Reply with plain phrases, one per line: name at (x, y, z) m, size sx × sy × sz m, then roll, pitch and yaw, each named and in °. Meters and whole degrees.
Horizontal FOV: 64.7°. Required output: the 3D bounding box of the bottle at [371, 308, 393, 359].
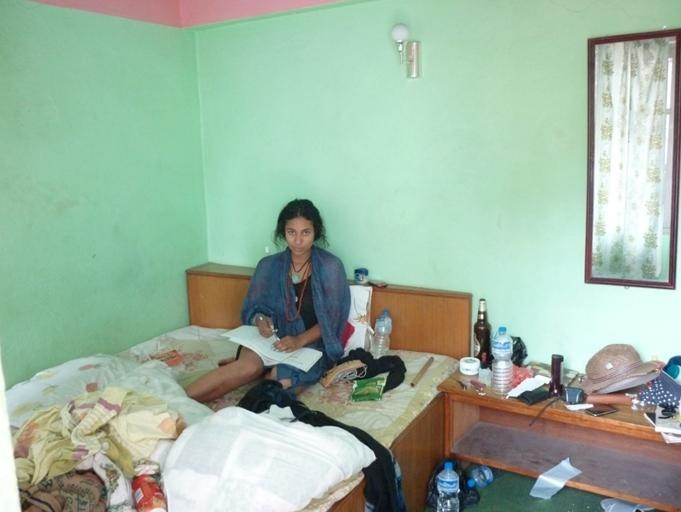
bottle at (0.254, 0.458, 3.265) m, size 0.152 × 0.268 × 0.155 m, roll 9°, pitch -4°, yaw 1°

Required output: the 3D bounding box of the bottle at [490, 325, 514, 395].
bottle at (0.815, 0.536, 2.739) m, size 0.133 × 0.353 × 0.135 m, roll -2°, pitch 6°, yaw 0°

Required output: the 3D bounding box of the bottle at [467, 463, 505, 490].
bottle at (0.753, 1.129, 2.787) m, size 0.064 × 0.104 × 0.164 m, roll -19°, pitch 19°, yaw -37°

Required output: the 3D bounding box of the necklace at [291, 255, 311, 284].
necklace at (-0.240, 0.079, 3.139) m, size 0.102 × 0.152 × 0.027 m, roll 2°, pitch -12°, yaw 27°

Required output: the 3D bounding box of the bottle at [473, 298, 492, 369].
bottle at (0.787, 0.418, 2.983) m, size 0.097 × 0.375 × 0.176 m, roll 0°, pitch 4°, yaw 14°

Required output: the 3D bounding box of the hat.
hat at (1.381, 0.539, 2.656) m, size 0.379 × 0.177 × 0.415 m, roll -16°, pitch -17°, yaw 3°

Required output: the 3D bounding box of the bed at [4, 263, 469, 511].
bed at (0.037, 0.627, 2.847) m, size 1.355 × 0.784 × 1.318 m, roll 5°, pitch 9°, yaw 21°

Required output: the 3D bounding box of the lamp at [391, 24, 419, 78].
lamp at (0.365, -1.158, 3.034) m, size 0.161 × 0.299 × 0.105 m, roll 0°, pitch 18°, yaw 6°

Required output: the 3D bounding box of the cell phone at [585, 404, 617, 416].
cell phone at (1.202, 0.713, 2.484) m, size 0.161 × 0.017 × 0.094 m, roll -8°, pitch 6°, yaw -34°
